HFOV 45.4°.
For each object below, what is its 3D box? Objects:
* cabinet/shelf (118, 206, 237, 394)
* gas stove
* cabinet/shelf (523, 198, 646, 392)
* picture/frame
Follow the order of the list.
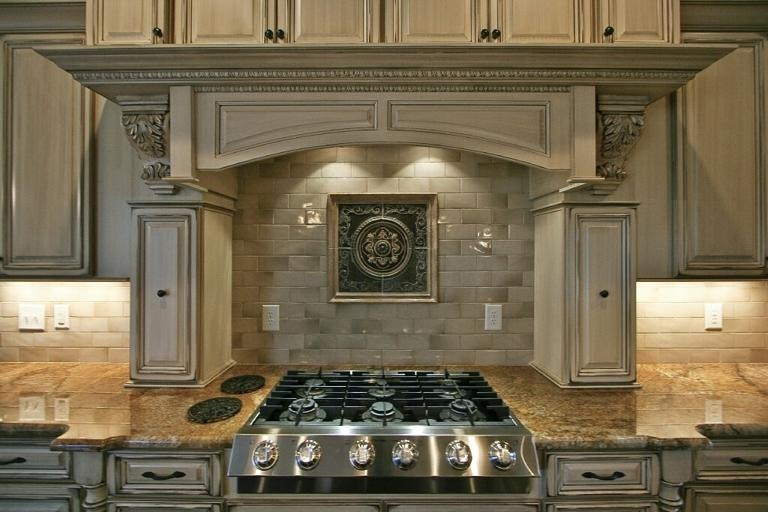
[{"bbox_3d":[-1.065,0.212,4.933,0.593,0.976,0.287,0,4,-25],"label":"cabinet/shelf"},{"bbox_3d":[0.005,0.873,4.664,1.504,0.412,0.528,1,3,0],"label":"gas stove"},{"bbox_3d":[1.028,0.187,4.935,0.590,1.018,0.282,5,5,44],"label":"cabinet/shelf"},{"bbox_3d":[0.009,-0.038,5.177,0.841,0.629,0.059,1,-2,-3],"label":"picture/frame"}]
